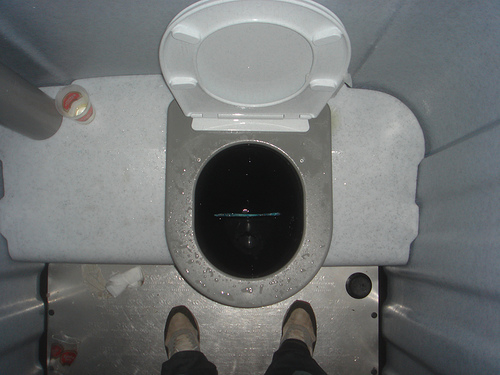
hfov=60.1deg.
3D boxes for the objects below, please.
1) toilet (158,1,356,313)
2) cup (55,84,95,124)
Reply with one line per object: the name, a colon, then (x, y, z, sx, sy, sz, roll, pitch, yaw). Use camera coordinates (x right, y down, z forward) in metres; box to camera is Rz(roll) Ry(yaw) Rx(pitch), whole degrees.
toilet: (0.019, -0.180, 1.608, 0.593, 1.076, 1.132, 0, 95, -1)
cup: (-0.659, -0.313, 1.662, 0.125, 0.140, 0.145, 2, 95, -14)
